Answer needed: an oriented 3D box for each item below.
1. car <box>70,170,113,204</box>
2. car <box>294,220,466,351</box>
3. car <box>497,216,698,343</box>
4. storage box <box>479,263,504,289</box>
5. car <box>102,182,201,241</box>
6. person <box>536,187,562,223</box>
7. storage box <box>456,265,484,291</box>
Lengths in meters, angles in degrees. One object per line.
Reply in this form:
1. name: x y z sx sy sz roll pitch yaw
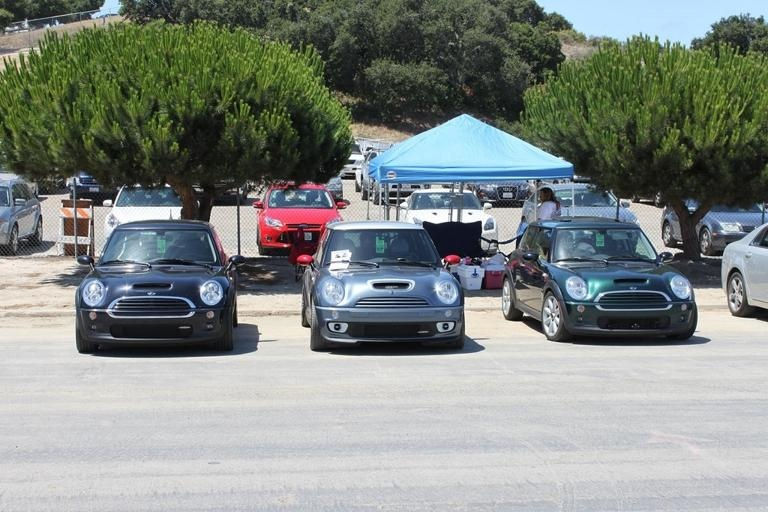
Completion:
1. car: -8.550 -2.032 29.552 1.400 1.144 2.452 1 -4 -18
2. car: 0.019 0.640 17.603 2.763 2.109 1.986 2 13 7
3. car: 3.828 0.536 18.818 2.223 2.066 3.502 -10 17 -38
4. storage box: 2.517 0.483 23.195 0.524 0.545 0.541 0 3 -15
5. car: -5.991 -1.187 25.212 1.513 1.205 2.405 -1 0 -8
6. person: 3.981 -1.219 24.589 0.608 1.126 1.105 3 6 11
7. storage box: 1.994 0.487 23.466 0.417 0.516 0.707 0 4 -13
